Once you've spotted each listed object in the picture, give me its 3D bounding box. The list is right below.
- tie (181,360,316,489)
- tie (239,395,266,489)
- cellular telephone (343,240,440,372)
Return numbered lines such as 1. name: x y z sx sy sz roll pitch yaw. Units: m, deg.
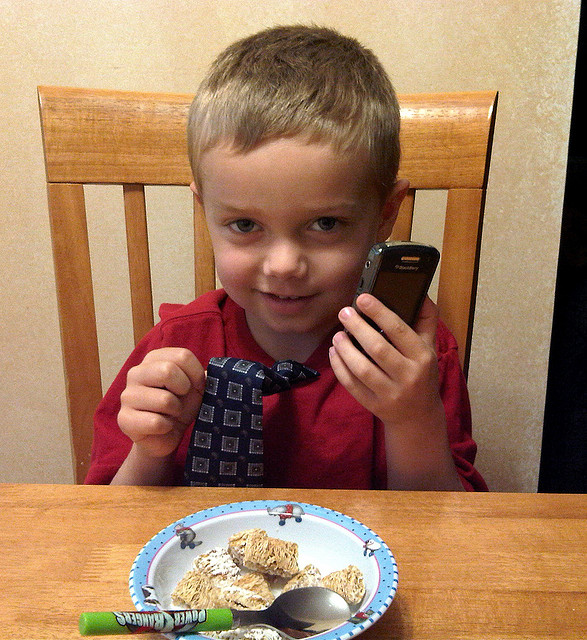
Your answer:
1. tie: -0.075 0.133 0.842 0.238 0.196 0.174 2 -9 -11
2. tie: -0.056 0.160 0.764 0.031 0.122 0.037 -1 15 -8
3. cellular telephone: 0.131 -0.027 0.745 0.084 0.166 0.019 1 41 -9
